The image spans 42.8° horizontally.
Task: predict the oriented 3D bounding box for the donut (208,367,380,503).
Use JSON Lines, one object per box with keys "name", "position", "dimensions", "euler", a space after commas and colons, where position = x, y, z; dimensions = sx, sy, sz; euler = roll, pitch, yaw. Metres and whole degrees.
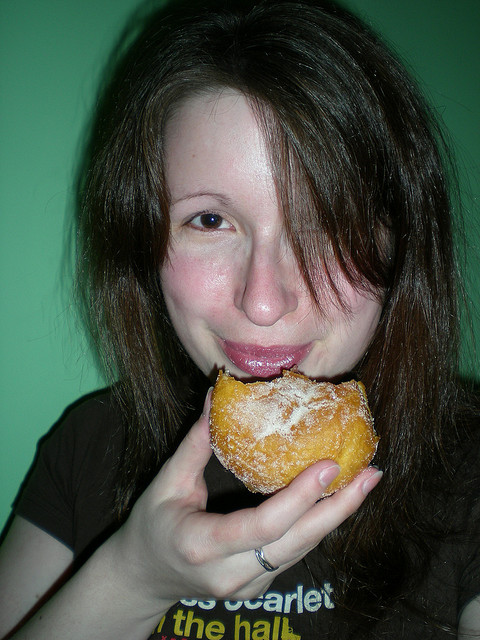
{"name": "donut", "position": [0.101, 0.239, 1.155], "dimensions": [0.311, 0.285, 0.200], "euler": [-7, 17, -6]}
